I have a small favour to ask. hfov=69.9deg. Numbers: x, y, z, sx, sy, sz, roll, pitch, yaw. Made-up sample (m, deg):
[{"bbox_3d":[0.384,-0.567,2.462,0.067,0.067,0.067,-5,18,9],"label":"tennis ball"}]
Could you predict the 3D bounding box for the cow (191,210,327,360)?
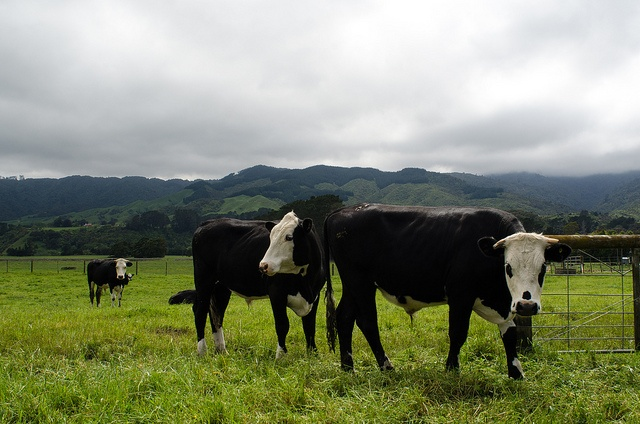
[{"bbox_3d":[-1.530,1.921,11.905,5.357,3.758,2.273,-6,-4,45],"label":"cow"}]
